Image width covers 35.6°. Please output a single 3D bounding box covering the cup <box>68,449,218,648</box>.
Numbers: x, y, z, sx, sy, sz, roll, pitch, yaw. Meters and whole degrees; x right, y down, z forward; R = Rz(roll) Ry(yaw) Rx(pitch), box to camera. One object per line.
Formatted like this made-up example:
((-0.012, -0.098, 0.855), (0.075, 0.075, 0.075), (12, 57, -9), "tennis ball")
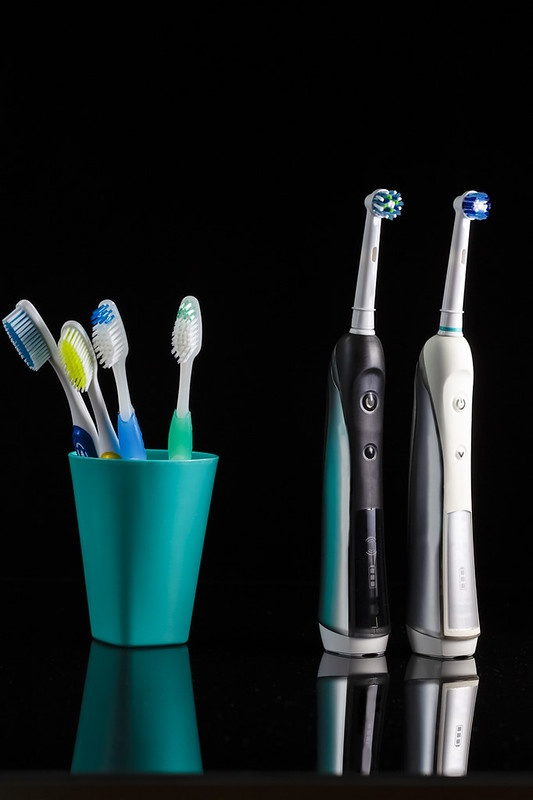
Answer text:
((-0.090, 0.109, 0.638), (0.103, 0.163, 0.119), (3, -6, -11), "cup")
